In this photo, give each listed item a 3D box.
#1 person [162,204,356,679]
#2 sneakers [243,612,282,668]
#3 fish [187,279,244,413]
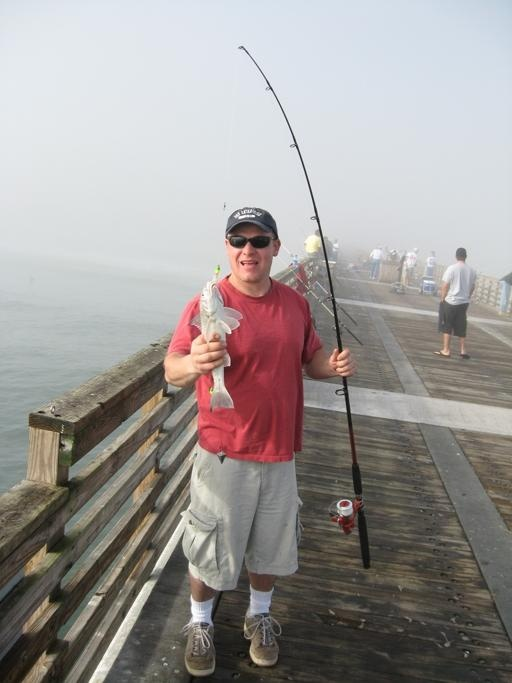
[{"bbox_3d":[0.005,0.370,2.151,0.953,1.907,0.618,1,8,0],"label":"person"},{"bbox_3d":[0.030,1.300,2.133,0.143,0.119,0.316,9,0,-11],"label":"sneakers"},{"bbox_3d":[-0.123,0.013,1.720,0.215,0.445,0.158,-3,0,42],"label":"fish"}]
